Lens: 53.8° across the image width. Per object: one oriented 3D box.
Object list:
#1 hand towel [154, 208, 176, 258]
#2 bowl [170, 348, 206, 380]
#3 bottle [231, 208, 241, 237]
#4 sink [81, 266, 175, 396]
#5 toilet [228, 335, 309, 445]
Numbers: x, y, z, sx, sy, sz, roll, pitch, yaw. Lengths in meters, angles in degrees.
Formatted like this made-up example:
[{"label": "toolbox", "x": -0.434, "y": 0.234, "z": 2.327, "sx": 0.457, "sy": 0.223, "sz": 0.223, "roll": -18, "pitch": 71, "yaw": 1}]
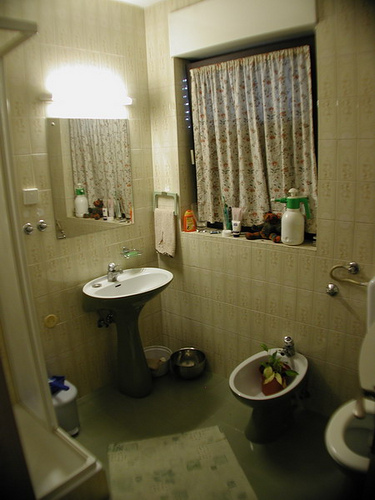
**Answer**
[{"label": "hand towel", "x": -0.154, "y": -0.127, "z": 2.634, "sx": 0.051, "sy": 0.327, "sz": 0.210, "roll": -15, "pitch": 17, "yaw": -40}, {"label": "bowl", "x": 0.001, "y": 0.807, "z": 2.588, "sx": 0.242, "sy": 0.149, "sz": 0.234, "roll": -4, "pitch": 13, "yaw": 1}, {"label": "bottle", "x": 0.312, "y": -0.181, "z": 2.360, "sx": 0.061, "sy": 0.173, "sz": 0.154, "roll": -2, "pitch": 13, "yaw": 7}, {"label": "sink", "x": -0.409, "y": 0.541, "z": 2.415, "sx": 0.443, "sy": 0.749, "sz": 0.659, "roll": 8, "pitch": 18, "yaw": 31}, {"label": "toilet", "x": 0.442, "y": 0.797, "z": 2.015, "sx": 0.318, "sy": 0.441, "sz": 0.451, "roll": 13, "pitch": 26, "yaw": 38}]
